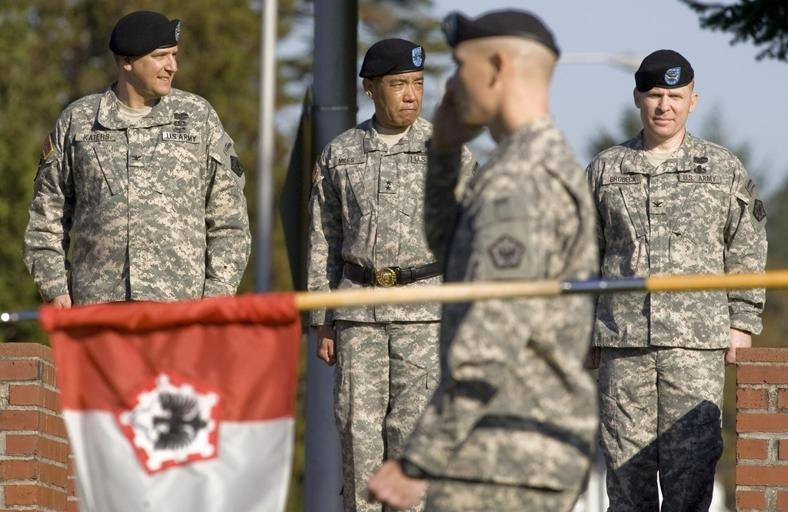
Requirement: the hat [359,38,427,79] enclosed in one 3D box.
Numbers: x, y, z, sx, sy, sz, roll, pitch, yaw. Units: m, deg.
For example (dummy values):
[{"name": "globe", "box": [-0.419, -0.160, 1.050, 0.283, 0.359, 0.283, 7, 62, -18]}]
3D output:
[{"name": "hat", "box": [-0.053, -1.732, 20.280, 0.472, 0.159, 0.440, -8, 3, -42]}]
